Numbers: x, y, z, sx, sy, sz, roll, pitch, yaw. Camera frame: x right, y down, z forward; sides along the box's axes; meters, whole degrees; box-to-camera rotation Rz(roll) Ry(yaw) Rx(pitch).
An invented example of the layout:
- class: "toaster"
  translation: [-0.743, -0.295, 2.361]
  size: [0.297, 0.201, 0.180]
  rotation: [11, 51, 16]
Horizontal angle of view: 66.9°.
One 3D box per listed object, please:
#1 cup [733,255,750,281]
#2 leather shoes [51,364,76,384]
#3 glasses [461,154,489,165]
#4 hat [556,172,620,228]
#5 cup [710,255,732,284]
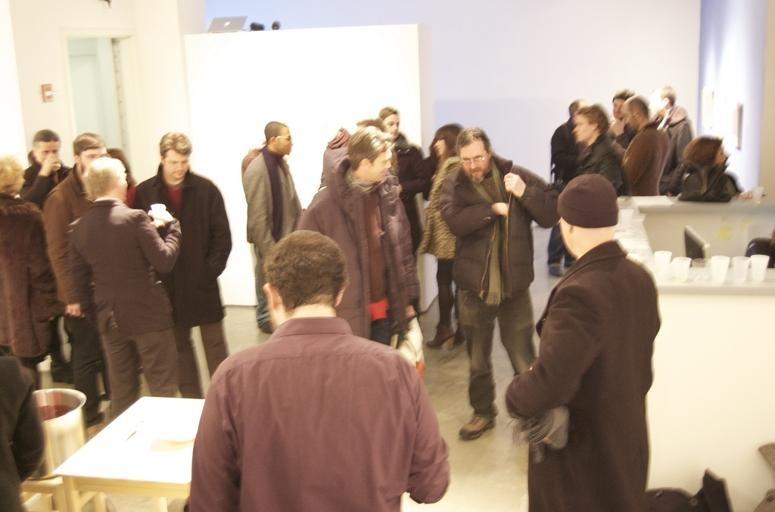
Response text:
- class: "cup"
  translation: [2.067, 0.073, 3.459]
  size: [0.091, 0.131, 0.170]
  rotation: [4, 13, 31]
- class: "leather shoes"
  translation: [-2.684, 0.983, 4.854]
  size: [0.135, 0.180, 0.050]
  rotation: [3, -23, 1]
- class: "glasses"
  translation: [0.638, -0.716, 4.355]
  size: [0.179, 0.060, 0.072]
  rotation: [0, 12, 10]
- class: "hat"
  translation: [1.014, -0.295, 2.896]
  size: [0.337, 0.205, 0.307]
  rotation: [8, 28, 35]
- class: "cup"
  translation: [1.970, 0.063, 3.506]
  size: [0.108, 0.144, 0.262]
  rotation: [4, 13, 29]
